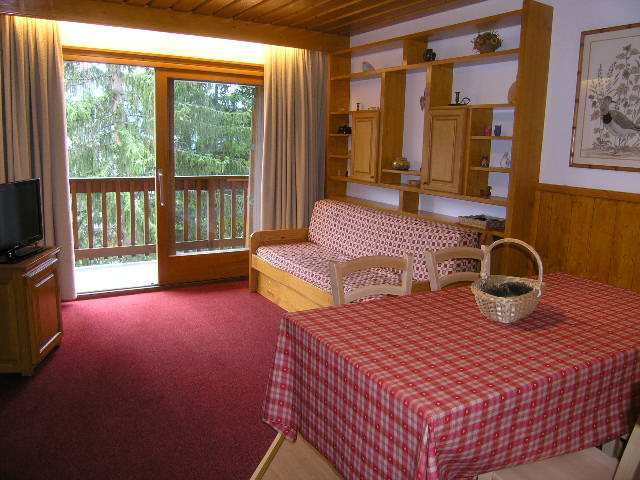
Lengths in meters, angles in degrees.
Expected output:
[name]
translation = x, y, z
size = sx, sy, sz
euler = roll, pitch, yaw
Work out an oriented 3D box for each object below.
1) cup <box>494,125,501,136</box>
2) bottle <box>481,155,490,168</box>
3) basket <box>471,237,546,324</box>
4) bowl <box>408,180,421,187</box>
[cup]
translation = 1.417, -0.864, 3.679
size = 0.060, 0.080, 0.253
euler = 6, 15, 20
[bottle]
translation = 1.335, -0.638, 3.757
size = 0.062, 0.082, 0.139
euler = 7, 15, 21
[basket]
translation = 0.873, 0.156, 2.268
size = 0.442, 0.445, 0.349
euler = -3, 4, -41
[bowl]
translation = 0.896, -0.531, 4.363
size = 0.081, 0.036, 0.082
euler = 1, 7, 0
